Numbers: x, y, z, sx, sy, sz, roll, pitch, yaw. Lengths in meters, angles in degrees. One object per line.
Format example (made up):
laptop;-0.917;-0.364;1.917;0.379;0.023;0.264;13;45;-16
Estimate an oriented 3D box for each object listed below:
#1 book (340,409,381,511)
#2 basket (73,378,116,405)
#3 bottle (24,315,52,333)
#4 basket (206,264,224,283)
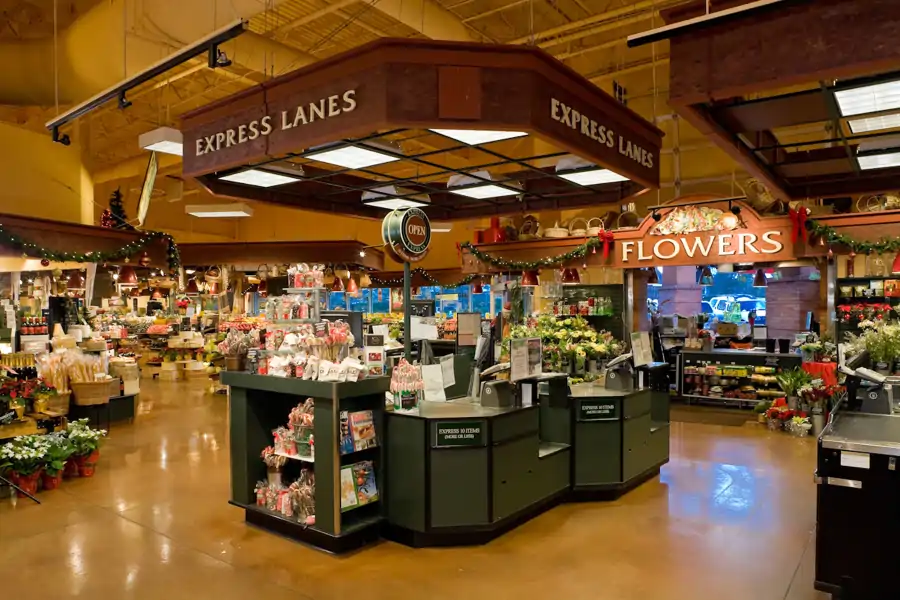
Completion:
book;-1.000;1.681;7.373;0.532;1.051;0.189;-9;12;-44
basket;-5.780;1.453;10.963;0.475;0.288;0.477;1;-5;-13
bottle;-7.179;0.416;11.794;0.340;0.314;0.350;0;1;41
basket;-7.246;-0.844;20.834;0.456;0.466;0.432;6;23;7
